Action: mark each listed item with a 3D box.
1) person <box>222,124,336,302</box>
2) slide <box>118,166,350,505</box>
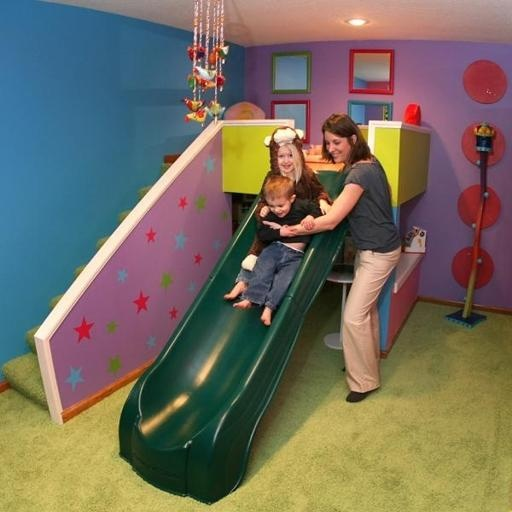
[{"bbox_3d":[0.122,-0.081,2.607,0.381,0.580,0.851,8,37,19],"label":"person"},{"bbox_3d":[-0.003,0.287,2.654,0.598,0.433,2.159,15,57,18],"label":"slide"}]
